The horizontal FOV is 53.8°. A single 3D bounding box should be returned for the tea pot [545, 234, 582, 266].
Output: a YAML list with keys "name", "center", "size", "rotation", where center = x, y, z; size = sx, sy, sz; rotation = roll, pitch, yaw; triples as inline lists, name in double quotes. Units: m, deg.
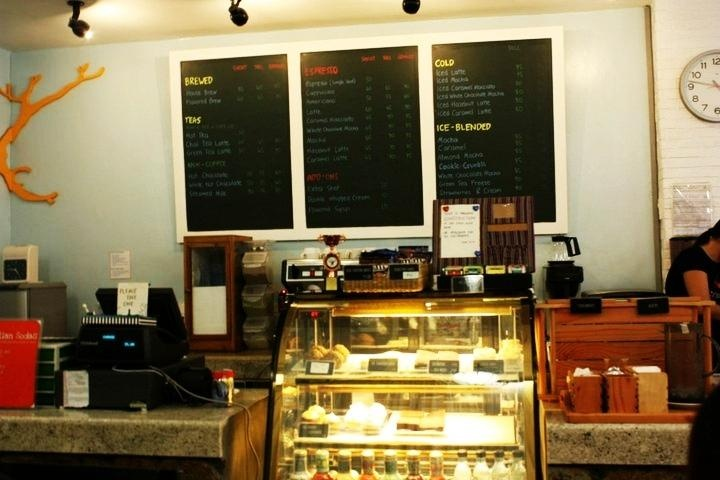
- name: "tea pot"
  center: [1.692, 0.086, 5.897]
  size: [0.253, 0.240, 0.153]
  rotation: [1, 0, 15]

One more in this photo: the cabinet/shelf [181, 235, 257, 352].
- name: "cabinet/shelf"
  center: [-1.208, 0.447, 5.983]
  size: [0.546, 0.944, 0.197]
  rotation: [-4, 1, -13]

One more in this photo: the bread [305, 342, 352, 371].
- name: "bread"
  center: [-0.205, 0.774, 4.852]
  size: [0.219, 0.155, 0.084]
  rotation: [2, 2, 8]

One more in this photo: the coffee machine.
- name: "coffee machine"
  center: [-0.274, 0.365, 5.125]
  size: [0.555, 0.510, 0.325]
  rotation: [-5, -23, -7]

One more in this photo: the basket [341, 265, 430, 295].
- name: "basket"
  center: [0.161, 0.255, 4.767]
  size: [0.568, 0.179, 0.151]
  rotation: [-4, 1, 0]

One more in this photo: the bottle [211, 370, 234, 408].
- name: "bottle"
  center: [-0.960, 1.041, 4.951]
  size: [0.189, 0.260, 0.147]
  rotation: [4, -9, -30]
